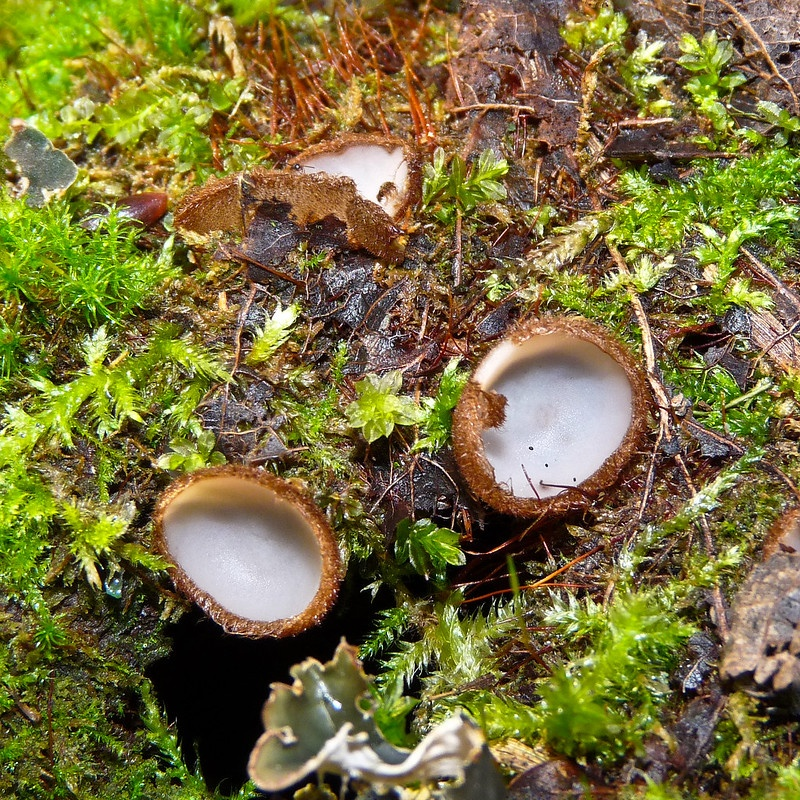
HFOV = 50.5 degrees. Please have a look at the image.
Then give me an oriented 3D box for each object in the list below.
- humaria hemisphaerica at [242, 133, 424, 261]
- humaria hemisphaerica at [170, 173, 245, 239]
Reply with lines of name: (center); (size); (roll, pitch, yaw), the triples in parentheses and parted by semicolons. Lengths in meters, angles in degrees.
humaria hemisphaerica: (-0.228, -0.783, 3.048); (0.611, 0.305, 0.413); (11, 70, -1)
humaria hemisphaerica: (-0.686, -0.693, 3.032); (0.262, 0.258, 0.128); (-1, 72, -5)
